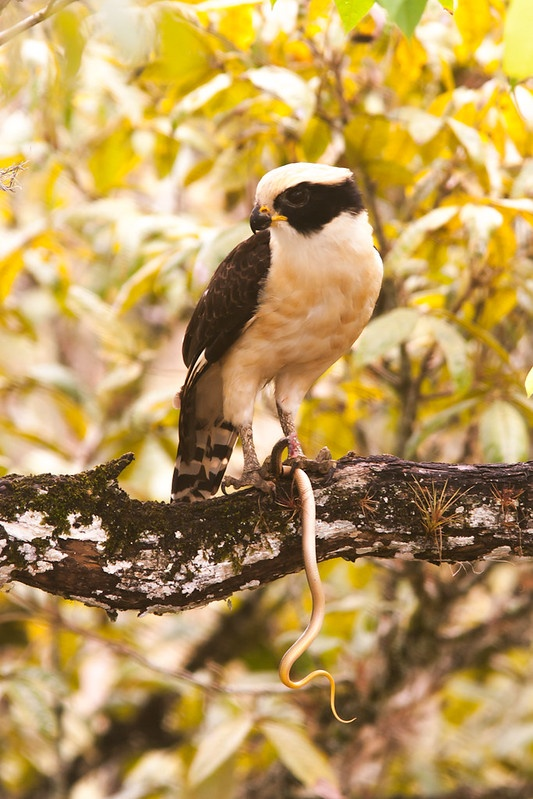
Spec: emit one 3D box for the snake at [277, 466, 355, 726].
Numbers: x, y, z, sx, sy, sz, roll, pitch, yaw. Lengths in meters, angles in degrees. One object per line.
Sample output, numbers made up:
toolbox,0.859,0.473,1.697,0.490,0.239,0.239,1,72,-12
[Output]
snake,0.113,0.568,2.638,0.274,0.641,0.259,-9,13,-20
